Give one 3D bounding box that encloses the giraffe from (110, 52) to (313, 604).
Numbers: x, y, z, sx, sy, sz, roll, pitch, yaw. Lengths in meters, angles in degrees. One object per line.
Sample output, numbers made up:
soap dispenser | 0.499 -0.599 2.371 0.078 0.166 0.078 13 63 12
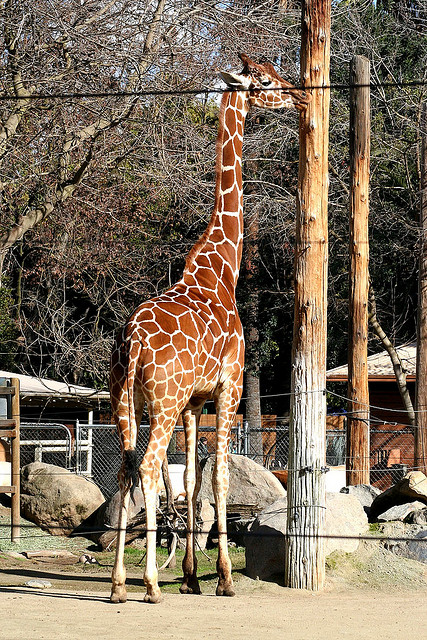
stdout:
giraffe | -0.255 -0.094 14.523 0.771 5.758 2.465 -3 -5 31
